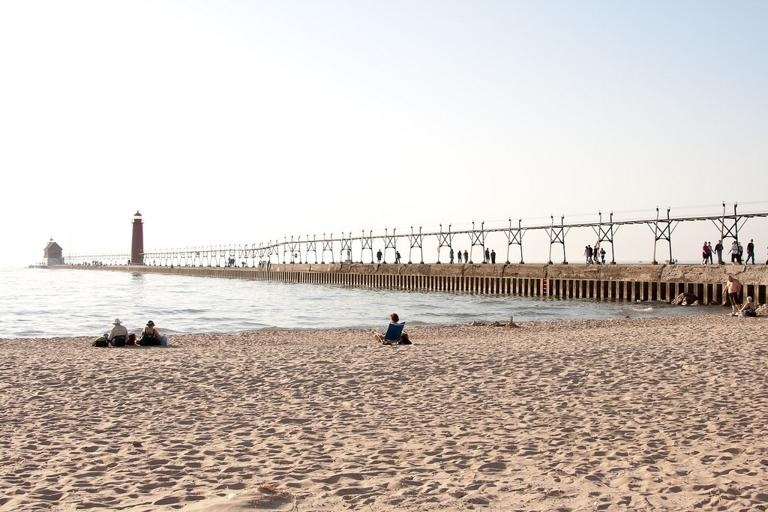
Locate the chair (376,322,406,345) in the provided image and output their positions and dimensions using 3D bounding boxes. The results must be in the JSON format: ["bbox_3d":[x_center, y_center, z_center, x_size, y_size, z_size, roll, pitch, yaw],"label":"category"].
[{"bbox_3d":[0.203,2.361,26.587,0.591,0.454,0.866,2,-4,-8],"label":"chair"}]

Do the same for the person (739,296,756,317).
[{"bbox_3d":[14.043,1.949,34.110,0.574,0.633,0.729,1,5,-43],"label":"person"}]

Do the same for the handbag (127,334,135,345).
[{"bbox_3d":[-7.569,2.515,26.579,0.262,0.303,0.140,-5,-7,29],"label":"handbag"}]

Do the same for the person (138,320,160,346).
[{"bbox_3d":[-7.355,2.389,27.041,0.700,0.789,0.911,3,0,-15],"label":"person"}]

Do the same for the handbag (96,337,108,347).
[{"bbox_3d":[-8.433,2.545,26.266,0.405,0.247,0.205,0,-2,-17],"label":"handbag"}]

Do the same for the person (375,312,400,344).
[{"bbox_3d":[0.068,2.490,30.431,0.640,0.693,1.035,24,-51,-30],"label":"person"}]

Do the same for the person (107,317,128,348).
[{"bbox_3d":[-7.948,2.280,26.335,0.501,0.806,0.627,1,-2,-35],"label":"person"}]
